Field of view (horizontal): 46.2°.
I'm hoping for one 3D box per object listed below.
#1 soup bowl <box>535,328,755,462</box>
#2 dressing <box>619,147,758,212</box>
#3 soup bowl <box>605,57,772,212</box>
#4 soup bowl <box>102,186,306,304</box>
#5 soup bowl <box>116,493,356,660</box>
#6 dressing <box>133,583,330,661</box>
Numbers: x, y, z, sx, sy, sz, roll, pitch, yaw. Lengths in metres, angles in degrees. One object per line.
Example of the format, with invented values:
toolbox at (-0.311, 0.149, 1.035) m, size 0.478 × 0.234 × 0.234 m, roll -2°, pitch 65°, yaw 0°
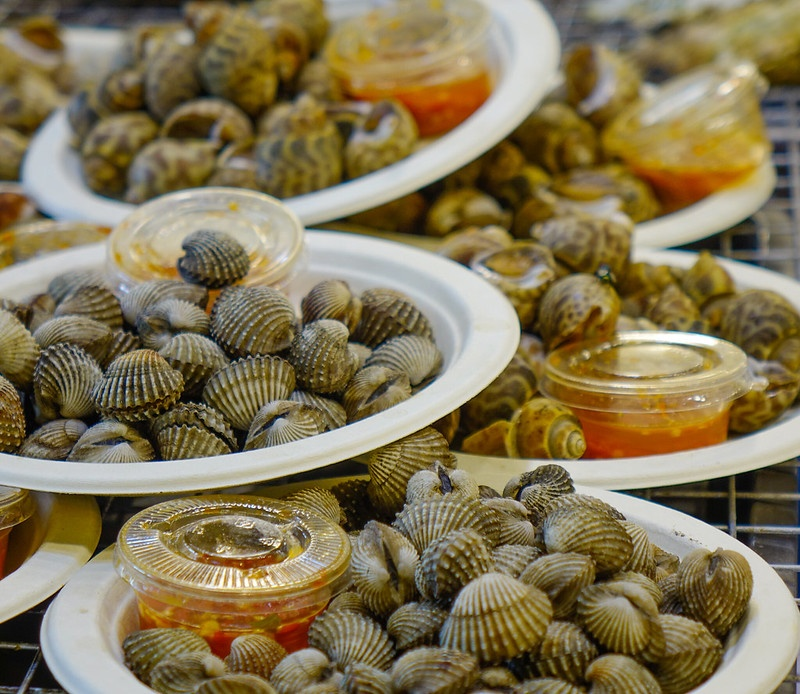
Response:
soup bowl at (0.260, 0.052, 0.987) m, size 0.202 × 0.088 × 0.210 m, roll -5°, pitch 15°, yaw 1°
dressing at (0.401, -0.241, 1.331) m, size 0.229 × 0.080 × 0.226 m, roll -5°, pitch 9°, yaw -12°
soup bowl at (0.378, -0.283, 1.234) m, size 0.171 × 0.110 × 0.176 m, roll -36°, pitch 16°, yaw 12°
soup bowl at (-0.206, -0.119, 0.978) m, size 0.139 × 0.049 × 0.137 m, roll -1°, pitch 41°, yaw 1°
soup bowl at (-0.120, 0.164, 0.680) m, size 0.166 × 0.061 × 0.165 m, roll 7°, pitch 13°, yaw -2°
dressing at (-0.106, 0.188, 0.657) m, size 0.094 × 0.093 × 0.032 m, roll -21°, pitch 61°, yaw 43°
